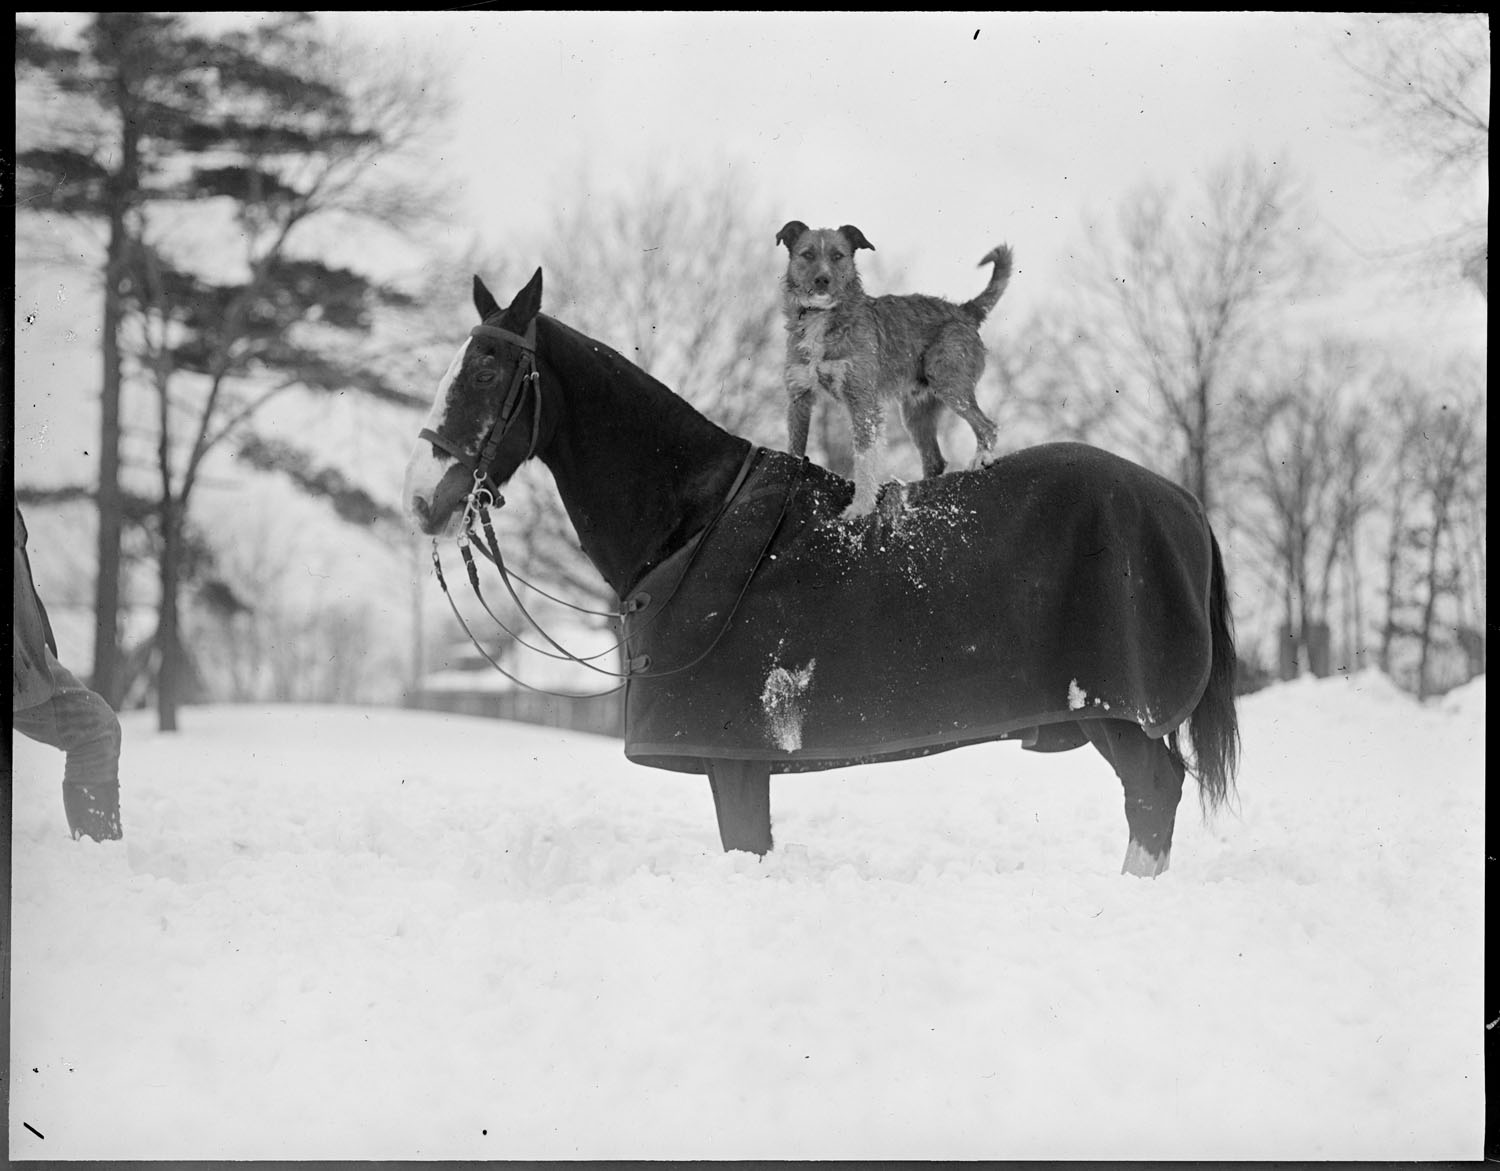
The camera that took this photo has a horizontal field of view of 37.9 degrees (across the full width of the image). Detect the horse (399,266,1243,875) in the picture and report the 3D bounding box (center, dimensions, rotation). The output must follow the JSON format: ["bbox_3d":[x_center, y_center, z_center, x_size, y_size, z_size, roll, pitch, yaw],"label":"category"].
[{"bbox_3d":[0.636,0.059,15.525,5.928,5.956,2.469,1,-7,1],"label":"horse"}]
